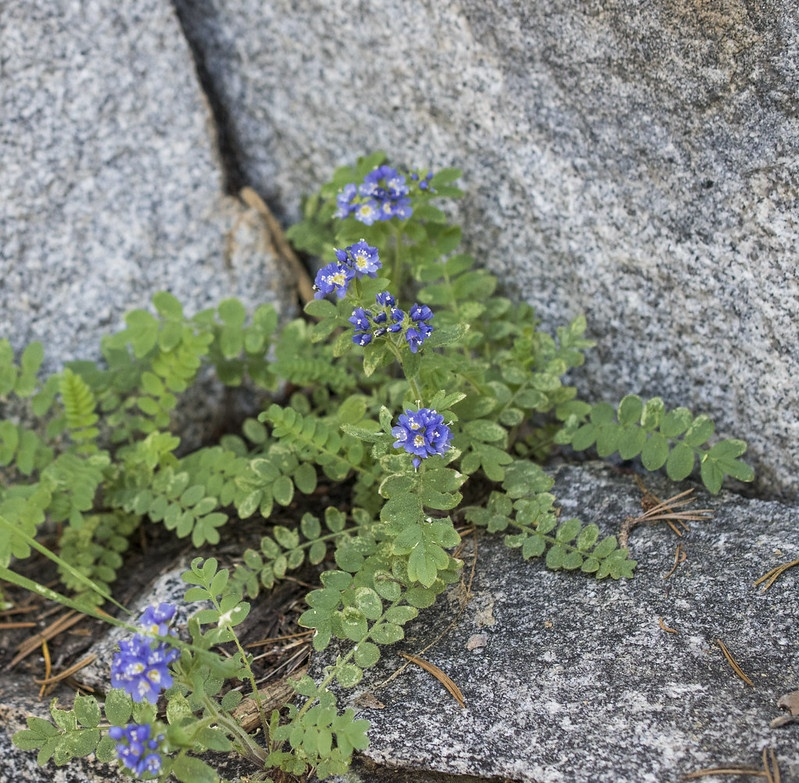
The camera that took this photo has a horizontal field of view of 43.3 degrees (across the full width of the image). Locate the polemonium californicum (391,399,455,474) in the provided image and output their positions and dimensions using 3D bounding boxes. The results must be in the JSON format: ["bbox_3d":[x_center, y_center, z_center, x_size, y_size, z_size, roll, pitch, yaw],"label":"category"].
[{"bbox_3d":[0.071,0.140,3.446,0.192,0.114,0.186,-3,62,-3],"label":"polemonium californicum"}]

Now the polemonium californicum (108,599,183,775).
[{"bbox_3d":[-0.756,0.912,3.112,0.231,0.182,0.494,-6,68,3],"label":"polemonium californicum"}]
